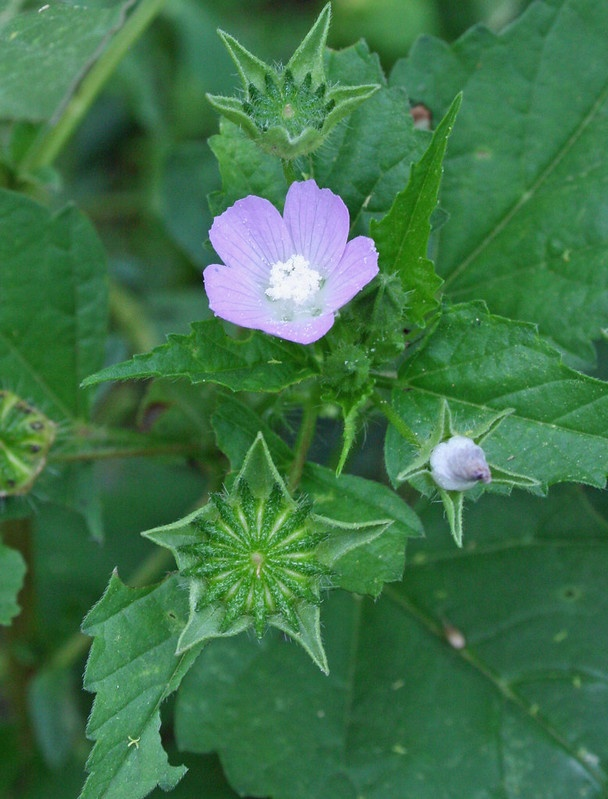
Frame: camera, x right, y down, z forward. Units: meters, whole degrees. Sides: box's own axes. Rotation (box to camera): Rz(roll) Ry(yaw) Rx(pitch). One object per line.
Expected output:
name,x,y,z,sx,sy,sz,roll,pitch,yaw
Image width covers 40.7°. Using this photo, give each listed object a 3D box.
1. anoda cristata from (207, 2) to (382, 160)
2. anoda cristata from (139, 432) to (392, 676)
anoda cristata,-0.037,-0.666,1.827,0.364,0.155,0.336,-21,89,-3
anoda cristata,-0.089,0.330,1.670,0.424,0.301,0.441,18,63,15
